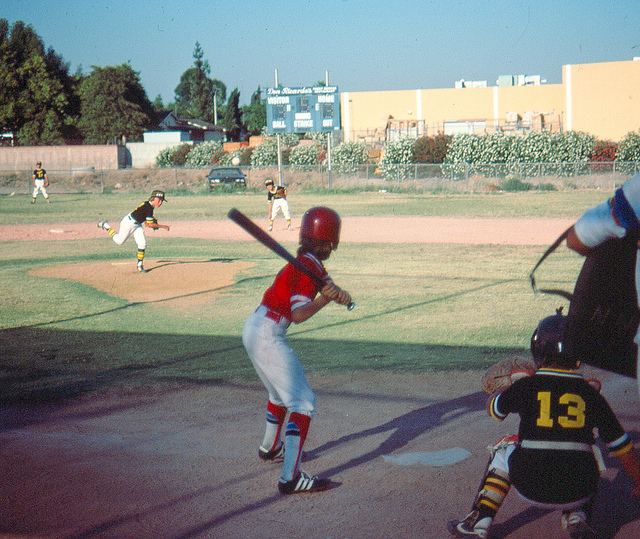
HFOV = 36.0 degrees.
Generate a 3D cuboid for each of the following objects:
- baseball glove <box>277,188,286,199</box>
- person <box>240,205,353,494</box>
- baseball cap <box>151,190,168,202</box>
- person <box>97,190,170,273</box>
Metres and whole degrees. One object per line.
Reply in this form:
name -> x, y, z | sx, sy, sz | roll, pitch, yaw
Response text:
baseball glove -> -0.874, -1.711, 22.109 | 0.189, 0.170, 0.145 | -6, 17, 8
person -> -0.143, 0.636, 8.060 | 1.026, 2.217, 1.028 | 2, 7, -7
baseball cap -> -2.531, -1.155, 15.499 | 0.229, 0.123, 0.158 | 15, -2, -33
person -> -2.921, -0.672, 15.706 | 0.961, 1.495, 0.668 | 0, 1, 23
